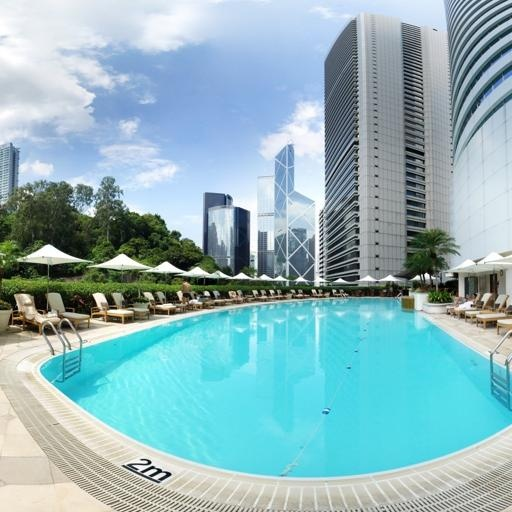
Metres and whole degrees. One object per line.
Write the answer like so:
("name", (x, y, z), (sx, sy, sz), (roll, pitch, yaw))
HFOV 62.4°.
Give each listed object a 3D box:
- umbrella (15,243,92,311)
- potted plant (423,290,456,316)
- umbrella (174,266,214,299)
("umbrella", (-6.446, 0.411, 13.129), (1.371, 1.566, 1.353), (0, -1, -30))
("potted plant", (8.970, 2.281, 20.979), (1.400, 1.322, 1.140), (2, -6, -22))
("umbrella", (-3.480, 1.139, 22.847), (1.854, 1.709, 2.080), (-1, 0, -4))
